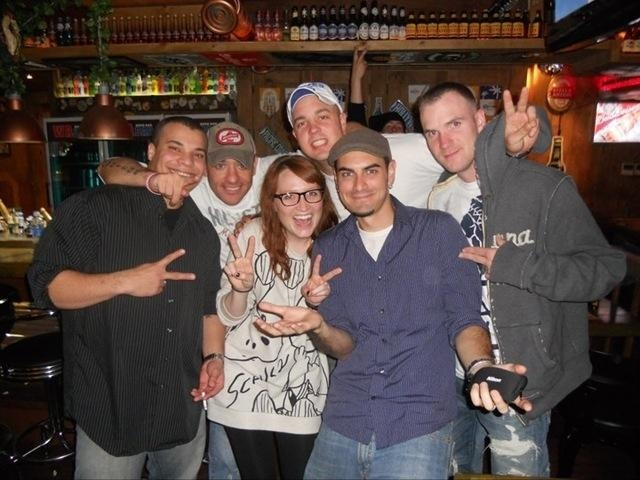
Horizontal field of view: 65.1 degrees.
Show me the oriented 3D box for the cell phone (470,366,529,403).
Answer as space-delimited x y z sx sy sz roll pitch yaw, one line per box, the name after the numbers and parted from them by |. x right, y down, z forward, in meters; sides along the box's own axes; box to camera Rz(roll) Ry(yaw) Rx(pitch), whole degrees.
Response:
0.910 0.741 2.607 0.277 0.136 0.136 7 11 42 | cell phone

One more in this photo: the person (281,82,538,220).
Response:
0.652 -0.642 3.690 2.125 1.097 0.553 5 16 3 | person

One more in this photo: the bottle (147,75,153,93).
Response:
-2.711 -2.493 8.058 0.110 0.260 0.020 1 9 11 | bottle

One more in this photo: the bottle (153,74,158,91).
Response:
-2.638 -2.490 8.052 0.085 0.258 0.031 -1 9 -7 | bottle

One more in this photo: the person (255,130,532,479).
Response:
0.467 0.601 2.996 1.216 1.680 0.686 3 9 19 | person

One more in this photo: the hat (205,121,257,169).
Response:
-0.640 -0.686 3.644 0.281 0.162 0.385 0 36 -21 | hat

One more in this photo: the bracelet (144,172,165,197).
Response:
-1.045 -0.341 3.127 0.120 0.140 0.067 2 0 -14 | bracelet

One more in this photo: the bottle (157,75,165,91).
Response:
-2.541 -2.482 8.038 0.117 0.251 0.030 1 9 8 | bottle
